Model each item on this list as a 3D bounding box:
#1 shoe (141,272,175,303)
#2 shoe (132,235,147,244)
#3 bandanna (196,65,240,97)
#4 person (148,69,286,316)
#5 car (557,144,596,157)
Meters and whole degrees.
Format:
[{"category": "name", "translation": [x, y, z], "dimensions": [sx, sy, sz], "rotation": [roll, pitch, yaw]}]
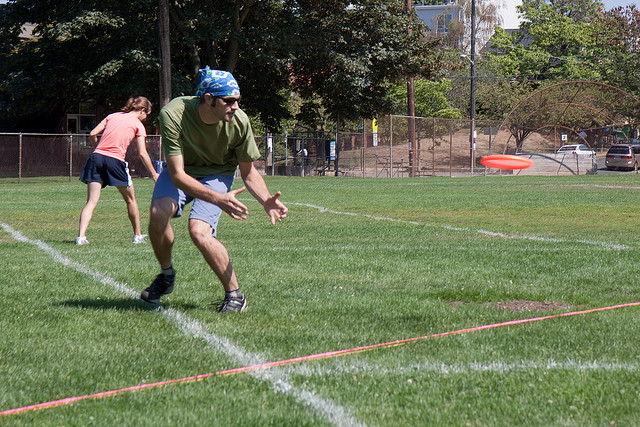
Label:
[{"category": "shoe", "translation": [-1.661, 0.722, 7.905], "dimensions": [0.193, 0.222, 0.526], "rotation": [13, 16, 16]}, {"category": "shoe", "translation": [-2.529, 0.351, 10.917], "dimensions": [0.097, 0.091, 0.215], "rotation": [3, 5, 24]}, {"category": "bandanna", "translation": [-0.995, -1.254, 7.493], "dimensions": [0.377, 0.316, 0.522], "rotation": [-3, 1, -35]}, {"category": "person", "translation": [-1.127, -0.231, 7.676], "dimensions": [1.219, 2.311, 0.851], "rotation": [-3, 15, -12]}, {"category": "car", "translation": [14.719, -3.531, 45.602], "dimensions": [2.498, 0.745, 1.050], "rotation": [-9, 12, -43]}]
